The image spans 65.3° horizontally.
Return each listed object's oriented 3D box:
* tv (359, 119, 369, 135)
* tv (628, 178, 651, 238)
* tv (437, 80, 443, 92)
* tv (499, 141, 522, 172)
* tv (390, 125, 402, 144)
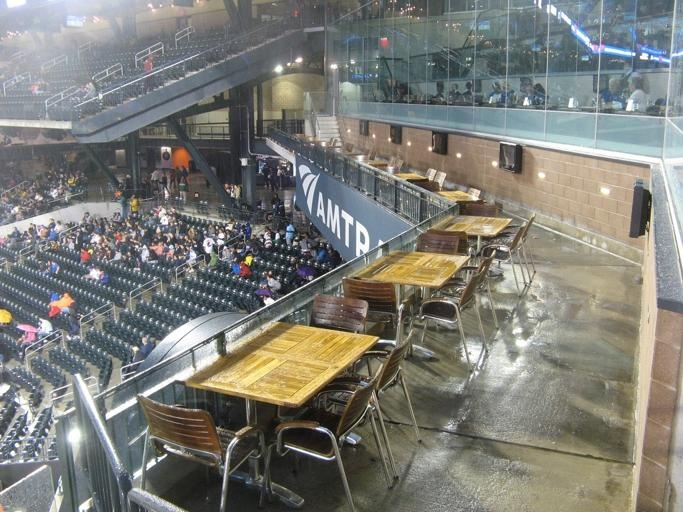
[{"bbox_3d":[0.959,-5.605,23.160,0.357,0.689,0.696,-1,5,-18],"label":"tv"},{"bbox_3d":[4.161,-0.679,7.453,0.290,0.944,0.919,2,14,25],"label":"tv"},{"bbox_3d":[2.961,-5.109,16.089,0.064,0.278,0.276,0,6,-17],"label":"tv"},{"bbox_3d":[3.934,-2.324,12.439,0.217,0.656,0.666,-6,13,-15],"label":"tv"},{"bbox_3d":[1.977,-4.459,19.606,0.338,0.689,0.688,-2,8,-11],"label":"tv"}]
